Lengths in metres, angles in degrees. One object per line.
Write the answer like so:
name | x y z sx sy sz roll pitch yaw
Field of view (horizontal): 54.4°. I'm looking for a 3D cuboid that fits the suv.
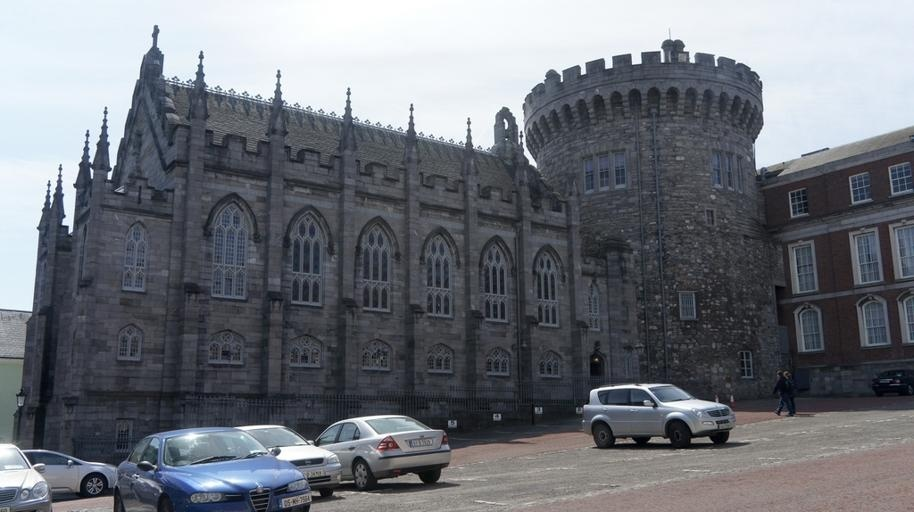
suv | 9.707 7.944 44.317 6.409 3.197 1.801 -10 -17 32
